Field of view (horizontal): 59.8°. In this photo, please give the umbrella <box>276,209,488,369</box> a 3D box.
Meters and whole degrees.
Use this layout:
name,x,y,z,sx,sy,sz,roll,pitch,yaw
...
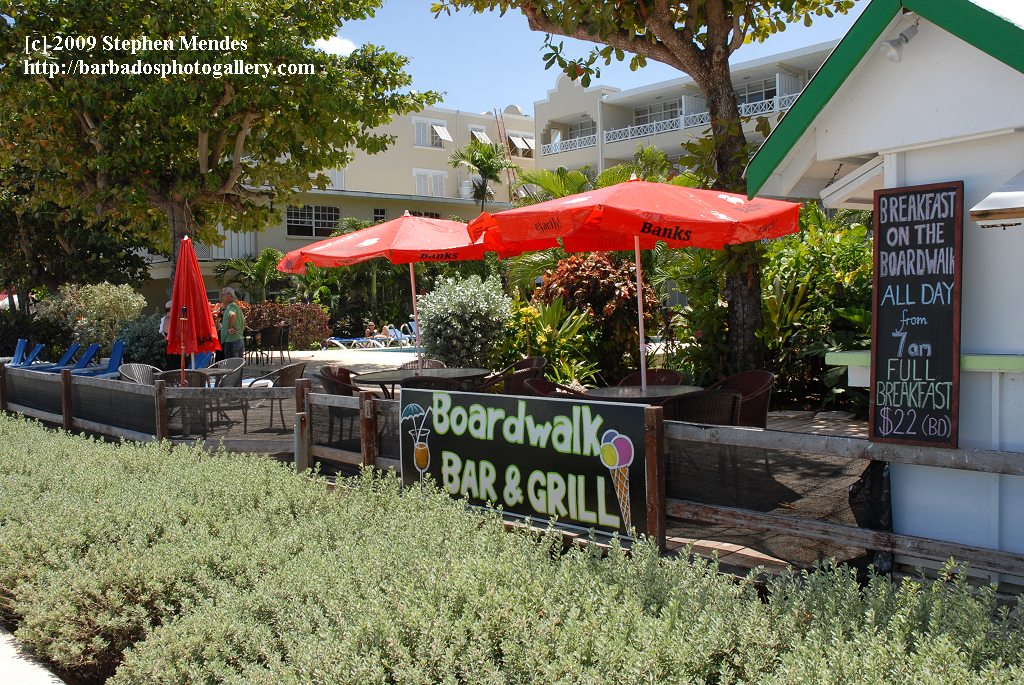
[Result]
name,x,y,z,sx,sy,sz,roll,pitch,yaw
umbrella,-1.617,-0.825,11.870,2.013,1.573,2.182,2,9,21

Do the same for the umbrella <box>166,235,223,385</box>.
name,x,y,z,sx,sy,sz,roll,pitch,yaw
umbrella,-4.629,-0.383,12.634,0.661,2.068,0.744,19,26,30
